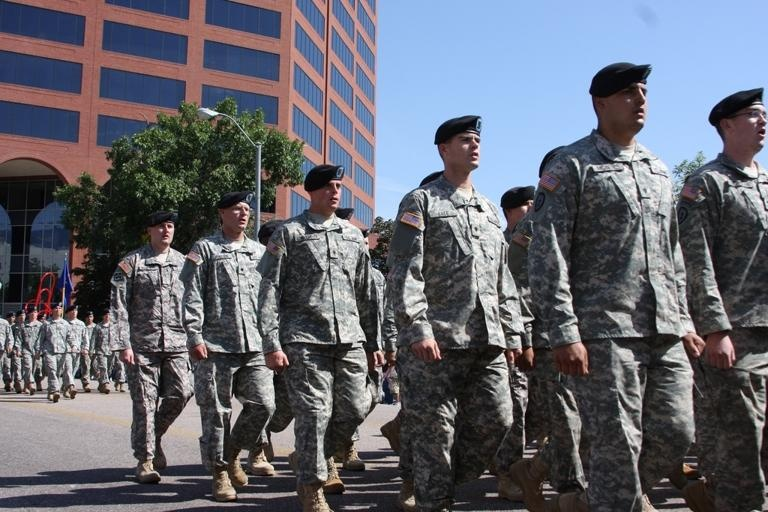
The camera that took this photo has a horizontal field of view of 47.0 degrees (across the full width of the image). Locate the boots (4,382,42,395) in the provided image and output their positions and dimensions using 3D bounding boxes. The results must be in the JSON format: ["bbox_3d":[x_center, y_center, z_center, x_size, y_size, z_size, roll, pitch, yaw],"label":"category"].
[{"bbox_3d":[-10.206,3.774,25.012,0.876,0.334,0.262,-20,-23,23],"label":"boots"}]

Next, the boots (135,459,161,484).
[{"bbox_3d":[-2.812,2.581,10.542,0.319,0.263,0.236,1,-10,-4],"label":"boots"}]

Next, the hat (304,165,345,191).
[{"bbox_3d":[-0.649,-0.855,9.611,0.399,0.126,0.292,-5,7,31],"label":"hat"}]

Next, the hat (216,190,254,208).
[{"bbox_3d":[-1.843,-0.668,10.585,0.321,0.115,0.355,-3,-3,-45],"label":"hat"}]

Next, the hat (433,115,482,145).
[{"bbox_3d":[0.736,-1.233,8.605,0.404,0.247,0.281,1,-9,-4],"label":"hat"}]

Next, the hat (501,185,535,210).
[{"bbox_3d":[1.557,-0.726,10.484,0.371,0.254,0.536,-2,-9,16],"label":"hat"}]
